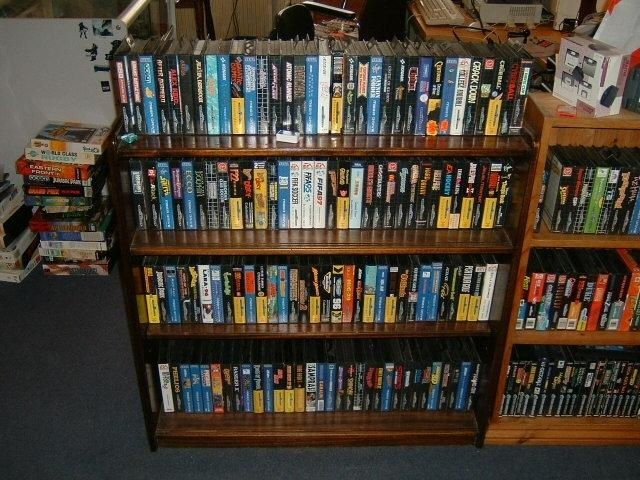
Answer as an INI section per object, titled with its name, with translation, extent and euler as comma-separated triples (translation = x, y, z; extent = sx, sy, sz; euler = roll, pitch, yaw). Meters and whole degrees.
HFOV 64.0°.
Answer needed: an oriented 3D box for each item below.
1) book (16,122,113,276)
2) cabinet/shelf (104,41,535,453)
[book]
translation = -1.078, -0.165, 2.274
extent = 0.398, 0.659, 0.270
euler = -10, 29, -17
[cabinet/shelf]
translation = 0.026, -0.190, 2.221
extent = 1.388, 1.181, 0.727
euler = -1, 34, 7
